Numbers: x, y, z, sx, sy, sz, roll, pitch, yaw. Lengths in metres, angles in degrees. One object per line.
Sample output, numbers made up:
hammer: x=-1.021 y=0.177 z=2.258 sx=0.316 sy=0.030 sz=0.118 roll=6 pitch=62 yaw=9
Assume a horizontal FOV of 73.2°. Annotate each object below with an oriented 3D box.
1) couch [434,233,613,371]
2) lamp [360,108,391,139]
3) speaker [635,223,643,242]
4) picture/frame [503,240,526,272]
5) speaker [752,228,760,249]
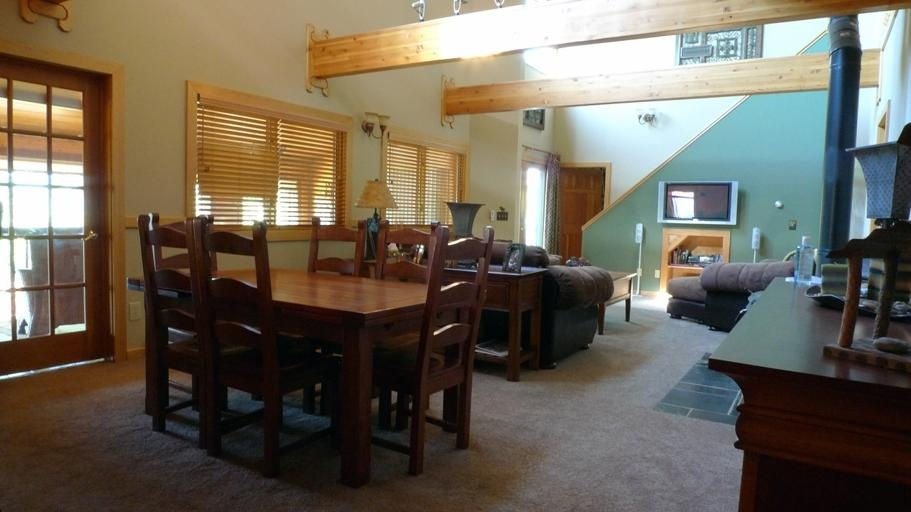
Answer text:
couch: x=0.845 y=0.572 z=6.787 sx=2.139 sy=1.162 sz=1.213 roll=1 pitch=2 yaw=39
lamp: x=-0.985 y=-1.695 z=8.078 sx=0.280 sy=0.318 sz=0.542 roll=3 pitch=6 yaw=38
speaker: x=3.190 y=-0.374 z=10.664 sx=0.136 sy=0.355 sz=0.079 roll=1 pitch=5 yaw=15
picture/frame: x=0.584 y=0.022 z=6.170 sx=0.294 sy=0.359 sz=0.055 roll=8 pitch=2 yaw=38
speaker: x=4.907 y=-0.279 z=9.995 sx=0.134 sy=0.359 sz=0.105 roll=1 pitch=5 yaw=13
